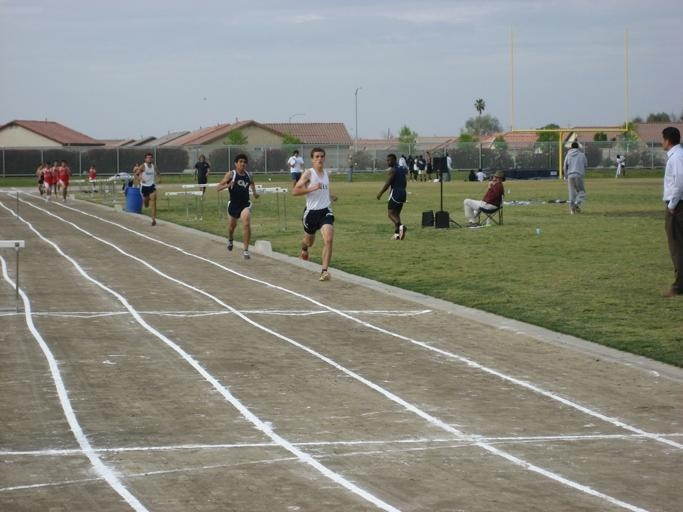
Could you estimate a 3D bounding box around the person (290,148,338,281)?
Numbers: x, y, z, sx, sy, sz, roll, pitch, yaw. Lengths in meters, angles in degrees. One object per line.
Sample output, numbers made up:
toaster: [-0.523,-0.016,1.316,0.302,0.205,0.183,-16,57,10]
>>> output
person: [-0.327,-0.709,22.780,0.896,1.966,0.729,-3,11,-18]

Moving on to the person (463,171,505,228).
person: [3.242,-1.257,31.011,0.979,1.152,0.921,-4,13,-22]

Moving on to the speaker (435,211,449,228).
speaker: [2.235,-0.767,30.502,0.442,0.446,0.267,1,6,5]

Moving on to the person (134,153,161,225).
person: [-4.397,-1.568,32.976,0.730,1.546,1.282,0,4,-6]

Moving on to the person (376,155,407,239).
person: [1.202,-1.244,28.812,0.703,1.674,0.753,-9,16,-40]
